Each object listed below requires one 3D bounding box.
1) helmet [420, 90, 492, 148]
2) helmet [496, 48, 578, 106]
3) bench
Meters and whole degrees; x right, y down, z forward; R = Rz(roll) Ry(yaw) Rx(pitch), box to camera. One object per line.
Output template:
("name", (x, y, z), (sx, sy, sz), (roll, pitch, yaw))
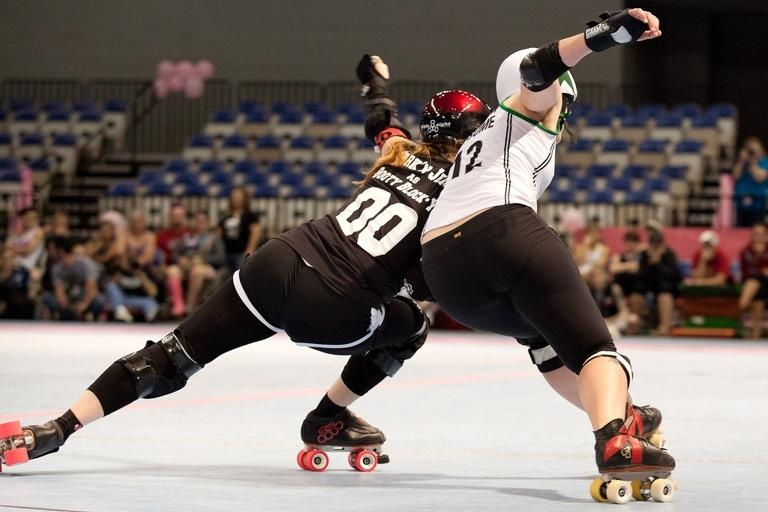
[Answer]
("helmet", (0.515, -1.015, 8.254), (0.491, 0.352, 0.348), (-19, 19, -27))
("helmet", (1.028, -1.258, 7.966), (0.512, 0.457, 0.371), (-23, 11, 2))
("bench", (4.290, 0.660, 16.416), (2.224, 0.996, 1.128), (3, -4, -40))
